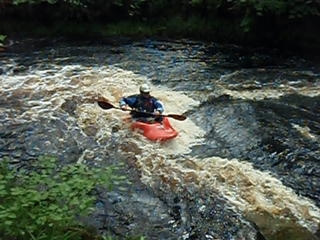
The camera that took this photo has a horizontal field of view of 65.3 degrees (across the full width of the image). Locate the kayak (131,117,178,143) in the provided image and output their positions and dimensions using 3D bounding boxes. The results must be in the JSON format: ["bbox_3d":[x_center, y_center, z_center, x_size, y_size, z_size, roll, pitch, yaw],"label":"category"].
[{"bbox_3d":[-0.123,0.321,6.794,1.230,0.522,1.215,-6,21,-33],"label":"kayak"}]
